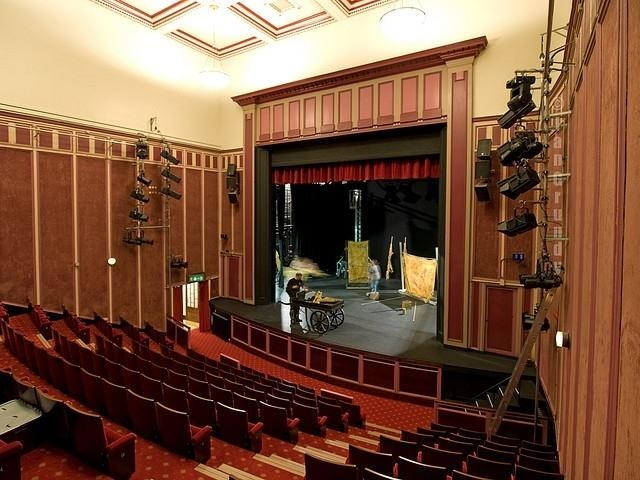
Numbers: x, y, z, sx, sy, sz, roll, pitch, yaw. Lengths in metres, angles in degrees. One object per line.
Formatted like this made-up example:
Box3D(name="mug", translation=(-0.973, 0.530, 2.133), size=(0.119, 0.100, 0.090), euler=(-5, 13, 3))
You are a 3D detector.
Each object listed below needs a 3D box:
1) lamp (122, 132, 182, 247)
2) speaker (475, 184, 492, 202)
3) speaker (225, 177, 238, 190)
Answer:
Box3D(name="lamp", translation=(-4.232, -1.208, 13.730), size=(1.544, 2.782, 1.132), euler=(-4, 7, -42))
Box3D(name="speaker", translation=(3.432, -0.999, 11.188), size=(0.221, 0.399, 0.217), euler=(14, 55, 46))
Box3D(name="speaker", translation=(-2.449, -1.588, 15.088), size=(0.334, 0.404, 0.208), euler=(-1, 5, -9))
